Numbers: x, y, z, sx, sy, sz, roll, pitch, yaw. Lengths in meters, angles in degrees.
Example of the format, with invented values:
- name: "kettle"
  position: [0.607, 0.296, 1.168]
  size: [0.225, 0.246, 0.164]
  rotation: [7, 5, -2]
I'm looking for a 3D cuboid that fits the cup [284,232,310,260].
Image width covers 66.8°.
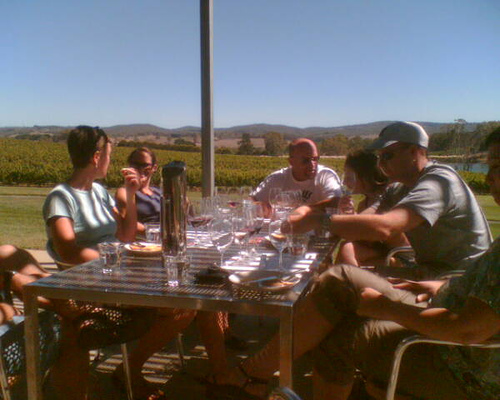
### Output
- name: "cup"
  position: [0.252, 0.226, 2.012]
  size: [0.126, 0.158, 0.130]
  rotation: [-1, 13, 0]

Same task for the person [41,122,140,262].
- name: "person"
  position: [-1.067, -0.016, 2.528]
  size: [0.544, 0.958, 0.830]
  rotation: [3, 3, 11]

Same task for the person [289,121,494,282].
- name: "person"
  position: [0.761, 0.099, 2.676]
  size: [1.303, 1.498, 1.098]
  rotation: [1, -4, 2]

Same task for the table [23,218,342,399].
- name: "table"
  position: [-0.227, 0.505, 1.882]
  size: [1.090, 0.526, 1.202]
  rotation: [4, 9, 20]

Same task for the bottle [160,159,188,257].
- name: "bottle"
  position: [-0.353, 0.039, 1.741]
  size: [0.124, 0.422, 0.145]
  rotation: [-7, 11, -42]

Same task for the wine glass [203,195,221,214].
- name: "wine glass"
  position: [-0.280, 0.033, 2.765]
  size: [0.105, 0.131, 0.110]
  rotation: [-1, 2, 2]

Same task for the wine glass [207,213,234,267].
- name: "wine glass"
  position: [-0.139, 0.212, 1.929]
  size: [0.137, 0.346, 0.133]
  rotation: [-3, 22, -11]

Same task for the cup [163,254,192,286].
- name: "cup"
  position: [-0.299, 0.279, 1.553]
  size: [0.133, 0.128, 0.135]
  rotation: [5, -3, 0]

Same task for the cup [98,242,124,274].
- name: "cup"
  position: [-0.628, 0.259, 1.701]
  size: [0.104, 0.135, 0.120]
  rotation: [1, -1, 32]
